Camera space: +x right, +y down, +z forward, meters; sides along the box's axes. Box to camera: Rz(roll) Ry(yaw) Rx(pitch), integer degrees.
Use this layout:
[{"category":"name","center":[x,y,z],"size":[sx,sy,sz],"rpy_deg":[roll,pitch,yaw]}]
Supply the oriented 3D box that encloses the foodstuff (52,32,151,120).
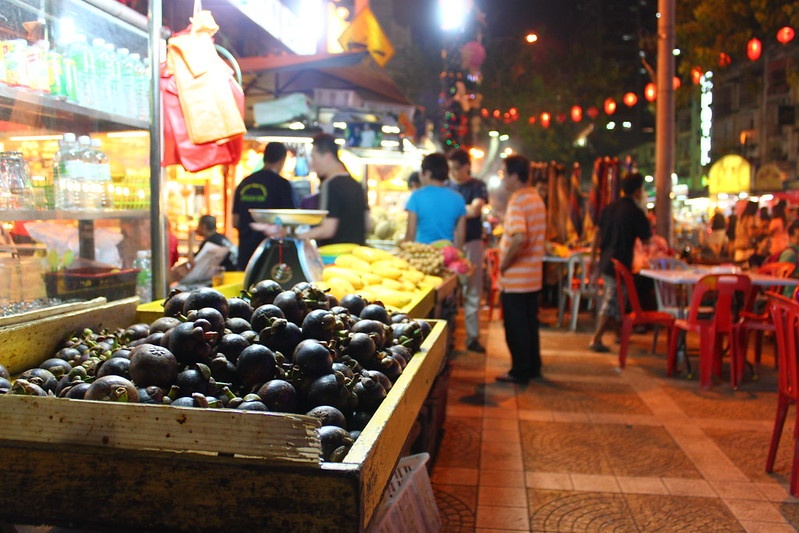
[{"category":"foodstuff","center":[-2.096,-1.300,4.657],"size":[0.245,0.459,0.677],"rpy_deg":[-1,3,17]}]

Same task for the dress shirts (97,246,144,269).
[{"category":"dress shirts","center":[-2.268,-0.065,5.325],"size":[0.351,0.203,0.189],"rpy_deg":[-2,2,-24]}]

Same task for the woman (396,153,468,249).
[{"category":"woman","center":[0.444,-0.724,7.842],"size":[0.753,1.137,0.502],"rpy_deg":[-1,9,-7]}]

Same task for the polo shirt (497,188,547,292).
[{"category":"polo shirt","center":[1.299,-0.283,7.211],"size":[0.504,1.108,0.913],"rpy_deg":[0,0,27]}]

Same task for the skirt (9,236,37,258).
[{"category":"skirt","center":[-2.594,-0.137,4.659],"size":[0.093,0.141,0.217],"rpy_deg":[1,8,3]}]

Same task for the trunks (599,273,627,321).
[{"category":"trunks","center":[2.705,0.386,8.441],"size":[0.368,0.622,0.524],"rpy_deg":[5,-15,-2]}]

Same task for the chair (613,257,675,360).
[{"category":"chair","center":[2.900,0.529,8.004],"size":[0.757,1.233,0.740],"rpy_deg":[0,0,9]}]

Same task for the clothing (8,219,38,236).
[{"category":"clothing","center":[-2.584,-0.250,4.648],"size":[0.088,0.111,0.186],"rpy_deg":[-9,4,-1]}]
